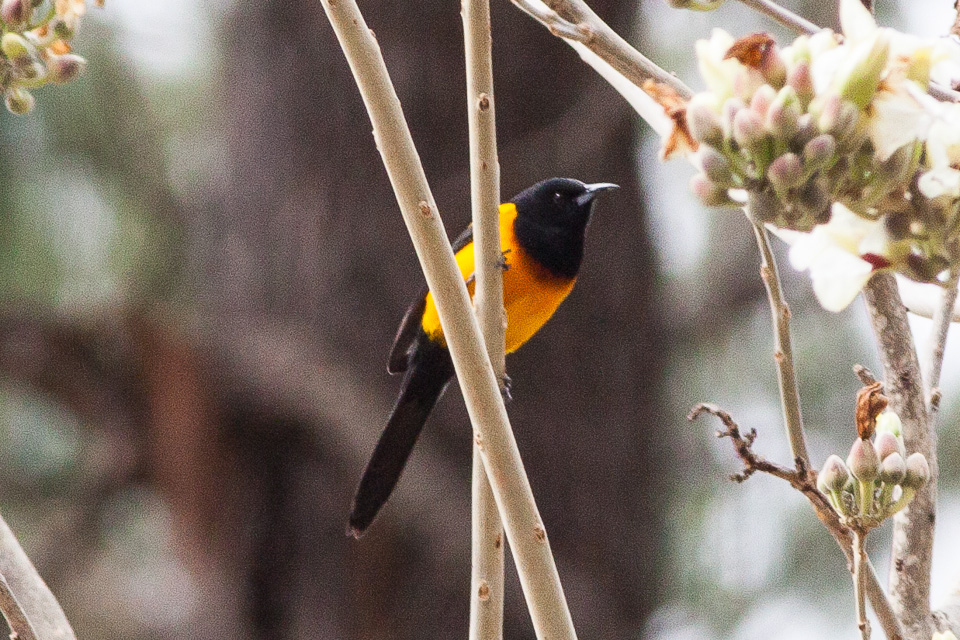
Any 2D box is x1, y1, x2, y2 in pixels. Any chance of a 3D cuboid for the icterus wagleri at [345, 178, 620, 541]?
[{"bbox_3d":[0.014,0.098,2.937,0.774,0.317,0.212,-45,-53,7],"label":"icterus wagleri"}]
